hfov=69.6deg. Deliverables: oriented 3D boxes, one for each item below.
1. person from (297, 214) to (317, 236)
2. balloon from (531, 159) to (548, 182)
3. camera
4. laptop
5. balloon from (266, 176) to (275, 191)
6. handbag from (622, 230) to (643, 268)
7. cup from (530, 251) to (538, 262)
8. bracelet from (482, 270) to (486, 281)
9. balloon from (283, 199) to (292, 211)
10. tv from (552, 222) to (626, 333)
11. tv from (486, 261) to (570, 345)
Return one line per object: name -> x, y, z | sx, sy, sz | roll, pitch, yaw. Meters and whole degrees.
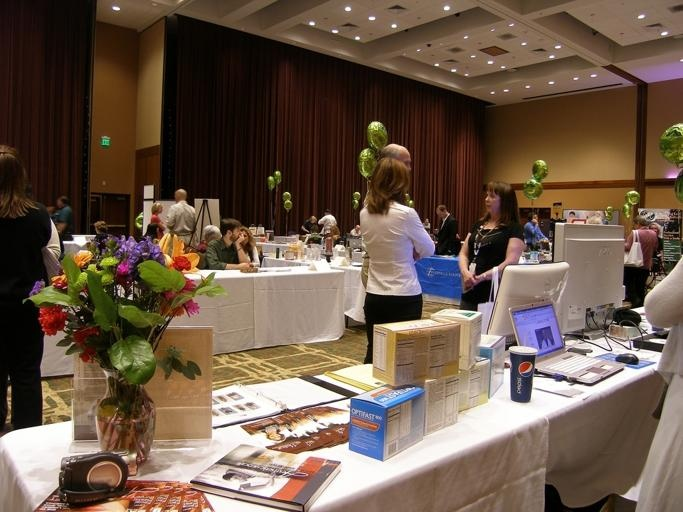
person -> -0.812, -0.697, 11.378 | 0.336, 0.532, 0.866 | 7, -3, -10
balloon -> 3.682, -1.562, 9.103 | 0.194, 0.392, 0.666 | 4, 7, 26
camera -> -0.561, 0.501, 1.118 | 0.085, 0.056, 0.129 | 1, 0, -20
laptop -> 0.934, 0.389, 2.067 | 0.345, 0.258, 0.307 | -4, 6, -43
balloon -> -1.624, -1.648, 11.294 | 0.226, 0.352, 0.262 | 5, 11, 18
handbag -> 4.033, -0.084, 6.784 | 0.202, 0.696, 0.489 | 0, -3, 23
cup -> 2.330, 0.004, 5.966 | 0.078, 0.172, 0.084 | -1, 8, 0
bracelet -> 0.804, 0.109, 2.769 | 0.025, 0.012, 0.032 | -7, 42, 43
balloon -> -1.246, -1.174, 11.304 | 0.155, 0.214, 0.196 | 22, -7, 27
tv -> 1.220, 0.106, 2.447 | 0.134, 0.491, 0.467 | 6, 8, 43
tv -> 0.824, 0.211, 2.149 | 0.326, 0.362, 0.127 | -1, 3, -41
